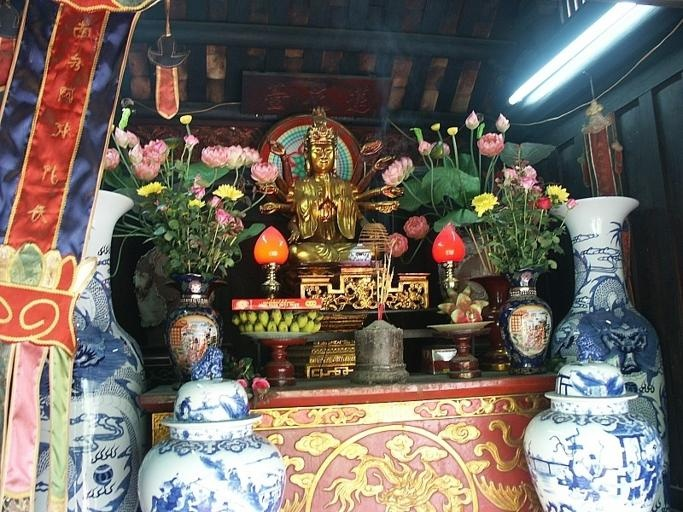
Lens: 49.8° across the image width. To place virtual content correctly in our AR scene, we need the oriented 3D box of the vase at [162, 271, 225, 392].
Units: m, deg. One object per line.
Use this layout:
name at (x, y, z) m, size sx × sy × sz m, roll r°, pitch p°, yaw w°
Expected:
vase at (-0.525, 0.273, 2.697) m, size 0.206 × 0.402 × 0.245 m, roll 1°, pitch 3°, yaw -34°

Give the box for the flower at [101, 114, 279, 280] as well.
flower at (-0.611, -0.096, 3.146) m, size 0.739 × 0.811 × 0.761 m, roll 4°, pitch -8°, yaw -11°

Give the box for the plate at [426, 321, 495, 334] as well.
plate at (0.463, 0.281, 2.875) m, size 0.243 × 0.066 × 0.149 m, roll 2°, pitch 3°, yaw -7°

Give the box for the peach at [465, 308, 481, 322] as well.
peach at (0.514, 0.225, 2.854) m, size 0.049 × 0.052 × 0.051 m, roll 4°, pitch 14°, yaw 26°

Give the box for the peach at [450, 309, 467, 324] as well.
peach at (0.454, 0.236, 2.827) m, size 0.049 × 0.051 × 0.049 m, roll 0°, pitch 5°, yaw -44°

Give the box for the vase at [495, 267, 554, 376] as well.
vase at (0.723, 0.252, 2.869) m, size 0.195 × 0.407 × 0.150 m, roll 3°, pitch 2°, yaw 13°
